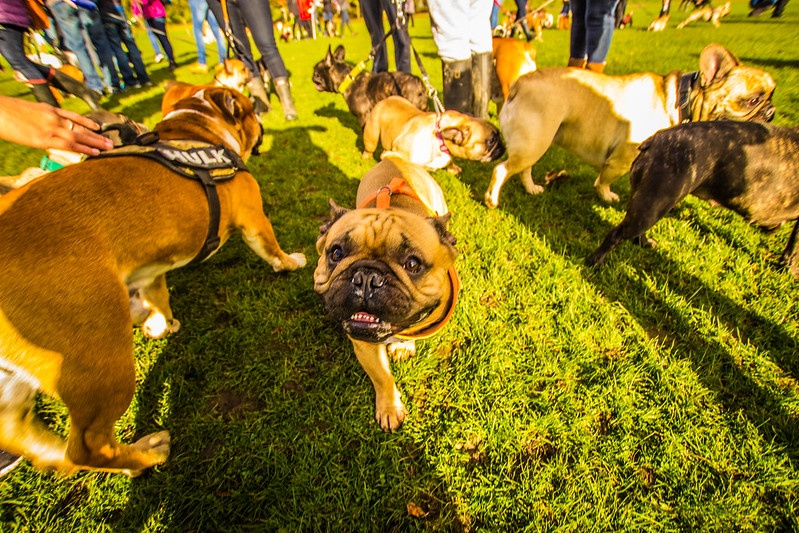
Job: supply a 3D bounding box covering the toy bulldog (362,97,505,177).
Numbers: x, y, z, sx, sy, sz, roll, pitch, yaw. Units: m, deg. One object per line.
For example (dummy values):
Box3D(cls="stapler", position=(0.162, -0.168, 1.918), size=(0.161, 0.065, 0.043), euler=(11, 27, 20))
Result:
Box3D(cls="toy bulldog", position=(0.487, -1.748, 7.439), size=(1.690, 0.762, 0.646), euler=(28, 71, 19))
